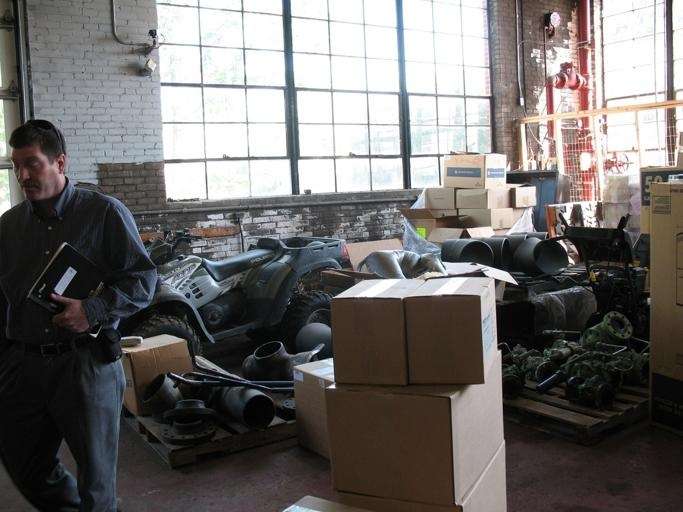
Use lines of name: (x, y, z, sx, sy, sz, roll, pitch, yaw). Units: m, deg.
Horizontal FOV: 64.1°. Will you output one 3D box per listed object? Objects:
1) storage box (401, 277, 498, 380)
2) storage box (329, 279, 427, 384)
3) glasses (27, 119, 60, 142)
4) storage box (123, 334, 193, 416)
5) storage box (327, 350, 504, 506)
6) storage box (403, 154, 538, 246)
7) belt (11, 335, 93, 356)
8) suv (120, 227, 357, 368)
storage box: (0.520, 0.298, 2.500, 0.314, 0.373, 0.616, -4, 7, 20)
storage box: (0.291, 0.344, 2.362, 0.585, 0.363, 0.335, -3, 0, 26)
glasses: (-1.347, -0.560, 2.486, 0.104, 0.077, 0.140, 3, 4, -1)
storage box: (-1.343, 0.823, 4.119, 0.521, 0.506, 0.512, -5, 9, -29)
storage box: (0.331, 0.635, 2.385, 0.500, 0.357, 0.693, -2, 3, 17)
storage box: (1.660, -0.715, 7.002, 1.298, 1.160, 1.343, 2, 7, 38)
belt: (-1.287, 0.401, 2.470, 0.323, 0.080, 0.046, -4, 8, -3)
suv: (-1.006, 0.292, 5.175, 1.916, 1.107, 0.981, -1, 0, -28)
